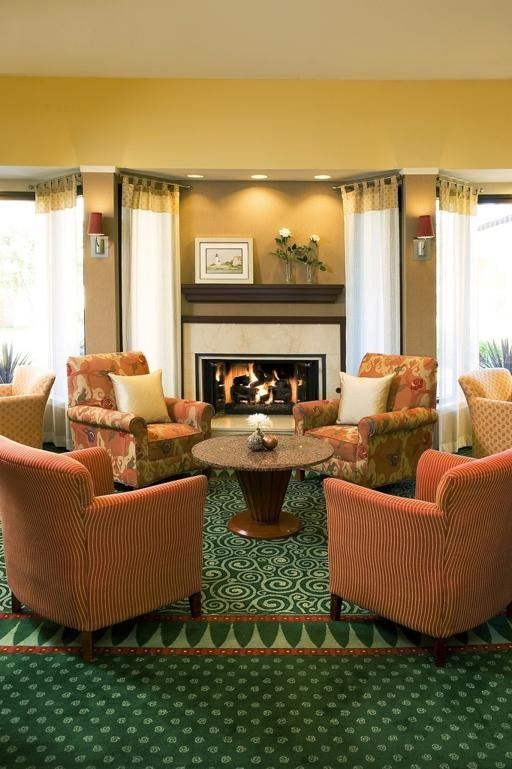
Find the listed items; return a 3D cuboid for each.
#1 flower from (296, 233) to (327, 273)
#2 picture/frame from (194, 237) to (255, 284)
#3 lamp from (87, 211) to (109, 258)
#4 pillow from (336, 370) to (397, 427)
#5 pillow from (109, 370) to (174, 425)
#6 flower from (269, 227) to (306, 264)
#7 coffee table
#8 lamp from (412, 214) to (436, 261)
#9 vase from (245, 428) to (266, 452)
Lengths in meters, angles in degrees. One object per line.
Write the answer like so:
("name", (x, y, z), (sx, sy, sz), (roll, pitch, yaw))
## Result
("flower", (0.504, -1.272, 5.497), (0.357, 0.416, 0.293), (9, 17, 30))
("picture/frame", (-0.293, -1.162, 5.404), (0.413, 0.361, 0.031), (0, 3, -3))
("lamp", (-1.355, -1.275, 4.935), (0.167, 0.364, 0.238), (-1, 4, -5))
("pillow", (0.795, 0.109, 4.107), (0.135, 0.358, 0.367), (29, -19, -34))
("pillow", (-0.844, 0.104, 4.179), (0.355, 0.364, 0.129), (-3, -26, -29))
("flower", (0.292, -1.284, 5.438), (0.291, 0.418, 0.358), (1, 17, -3))
("coffee table", (0.076, 0.545, 3.177), (0.629, 0.357, 0.622), (-7, 12, -30))
("lamp", (1.442, -1.270, 4.979), (0.174, 0.384, 0.358), (1, 4, 17))
("vase", (0.000, 0.310, 3.281), (0.091, 0.113, 0.160), (-1, 4, -6))
